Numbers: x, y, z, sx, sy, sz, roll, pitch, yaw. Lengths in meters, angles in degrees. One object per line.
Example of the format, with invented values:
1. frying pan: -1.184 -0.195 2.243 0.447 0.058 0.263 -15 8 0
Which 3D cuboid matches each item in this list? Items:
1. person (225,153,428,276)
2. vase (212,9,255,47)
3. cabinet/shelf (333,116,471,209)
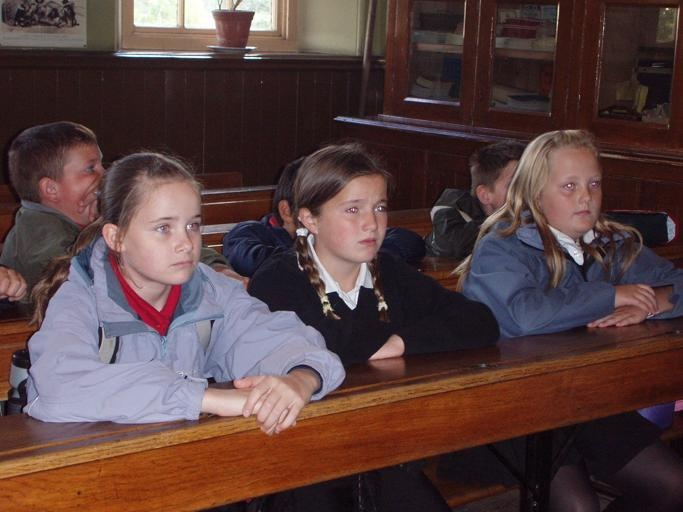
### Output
1. person: -0.036 -0.140 1.973 0.777 0.461 0.270 -4 6 -31
2. vase: -0.805 -1.693 4.272 0.295 0.218 0.287 -1 18 -7
3. cabinet/shelf: 0.401 -0.514 3.156 0.756 0.684 0.307 11 20 32
